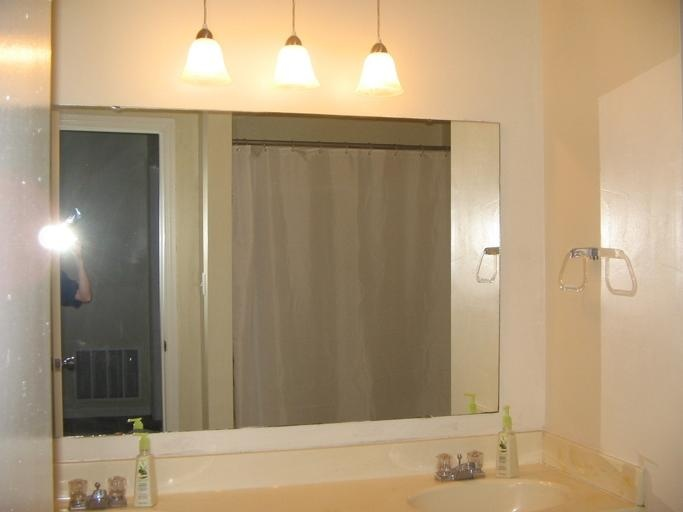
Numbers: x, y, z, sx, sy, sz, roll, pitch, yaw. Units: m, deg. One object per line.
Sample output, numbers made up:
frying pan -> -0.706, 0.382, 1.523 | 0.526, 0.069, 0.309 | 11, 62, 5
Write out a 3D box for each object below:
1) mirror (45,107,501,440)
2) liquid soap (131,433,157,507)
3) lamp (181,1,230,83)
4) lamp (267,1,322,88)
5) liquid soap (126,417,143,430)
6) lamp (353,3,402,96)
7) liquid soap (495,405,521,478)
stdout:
mirror -> -0.306, 0.064, 2.186 | 1.120, 0.883, 0.022 | 0, 1, -7
liquid soap -> -0.651, 0.696, 2.040 | 0.073, 0.210, 0.133 | -3, 10, -19
lamp -> -0.452, -0.742, 2.128 | 0.149, 0.306, 0.209 | 0, 10, 0
lamp -> -0.156, -0.681, 2.135 | 0.124, 0.191, 0.122 | 7, 12, 37
liquid soap -> -0.699, 0.567, 2.106 | 0.050, 0.050, 0.031 | 1, -5, -2
lamp -> 0.138, -0.760, 2.231 | 0.157, 0.354, 0.221 | 0, 10, 4
liquid soap -> 0.603, 0.671, 2.261 | 0.082, 0.239, 0.085 | 0, -12, 6
